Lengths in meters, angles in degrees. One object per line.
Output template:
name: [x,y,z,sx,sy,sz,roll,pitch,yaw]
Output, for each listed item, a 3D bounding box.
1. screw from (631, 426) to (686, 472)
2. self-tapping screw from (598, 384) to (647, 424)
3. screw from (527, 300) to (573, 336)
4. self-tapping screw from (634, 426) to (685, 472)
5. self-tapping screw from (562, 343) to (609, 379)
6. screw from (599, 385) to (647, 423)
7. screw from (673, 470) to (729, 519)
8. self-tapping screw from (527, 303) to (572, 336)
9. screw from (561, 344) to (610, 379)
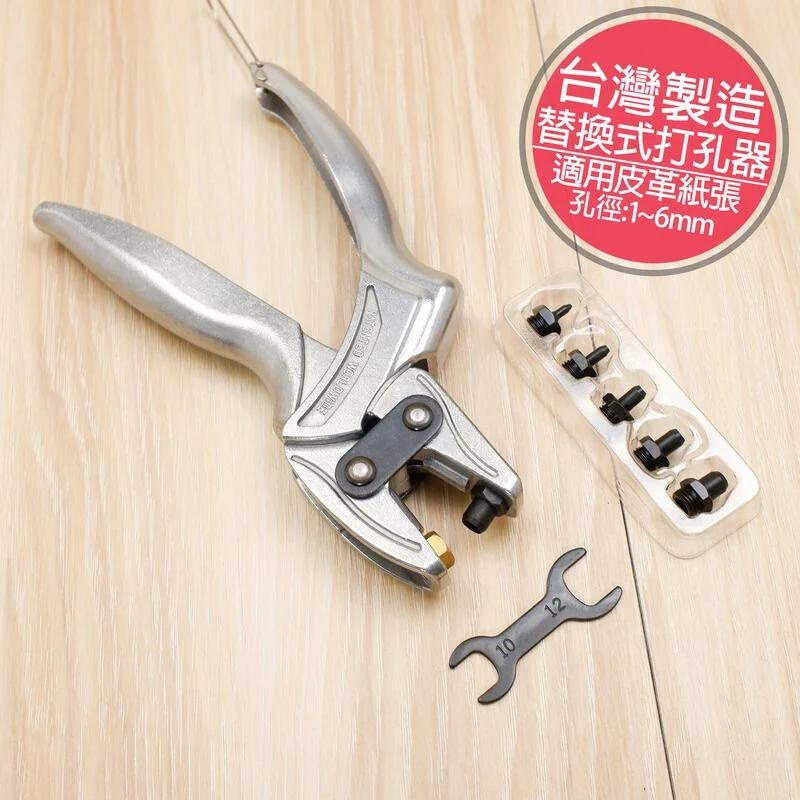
screw: [0.228,0.046,0.944,0.030,0.041,0.030,47,-10,7]
self-tapping screw: [0.202,0.005,0.969,0.028,0.038,0.021,46,-3,23]
screw: [0.139,-0.071,0.993,0.029,0.036,0.026,51,-8,-3]
self-tapping screw: [0.229,0.046,0.942,0.030,0.041,0.029,48,-9,5]
self-tapping screw: [0.170,-0.032,0.984,0.029,0.037,0.017,50,-5,0]
screw: [0.203,0.006,0.969,0.028,0.038,0.021,45,-3,21]
screw: [0.260,0.082,0.923,0.034,0.043,0.033,49,-26,16]
self-tapping screw: [0.139,-0.073,0.992,0.029,0.036,0.026,51,-8,-3]
screw: [0.171,-0.033,0.984,0.029,0.037,0.017,50,-5,2]
